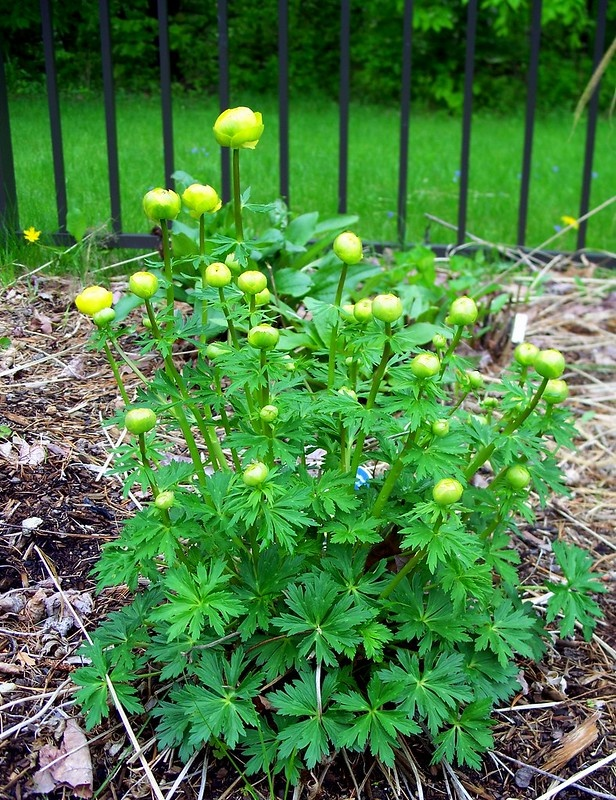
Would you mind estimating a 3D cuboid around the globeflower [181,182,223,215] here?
[{"bbox_3d":[-0.159,-0.298,1.036,0.056,0.052,0.052,-3,-23,-30],"label":"globeflower"}]
